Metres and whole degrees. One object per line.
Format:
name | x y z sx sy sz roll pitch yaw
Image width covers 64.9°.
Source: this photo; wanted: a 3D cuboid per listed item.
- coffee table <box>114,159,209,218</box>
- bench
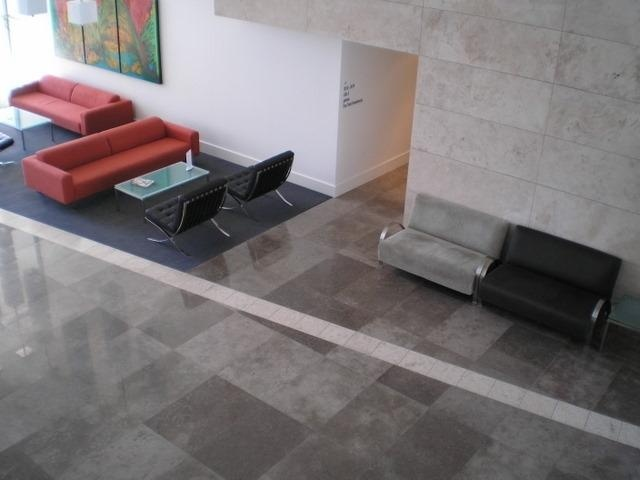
coffee table | -3.434 -1.182 10.463 1.085 0.551 2.035 30 47 27
bench | 2.860 0.425 7.966 3.292 1.127 1.173 22 36 28
